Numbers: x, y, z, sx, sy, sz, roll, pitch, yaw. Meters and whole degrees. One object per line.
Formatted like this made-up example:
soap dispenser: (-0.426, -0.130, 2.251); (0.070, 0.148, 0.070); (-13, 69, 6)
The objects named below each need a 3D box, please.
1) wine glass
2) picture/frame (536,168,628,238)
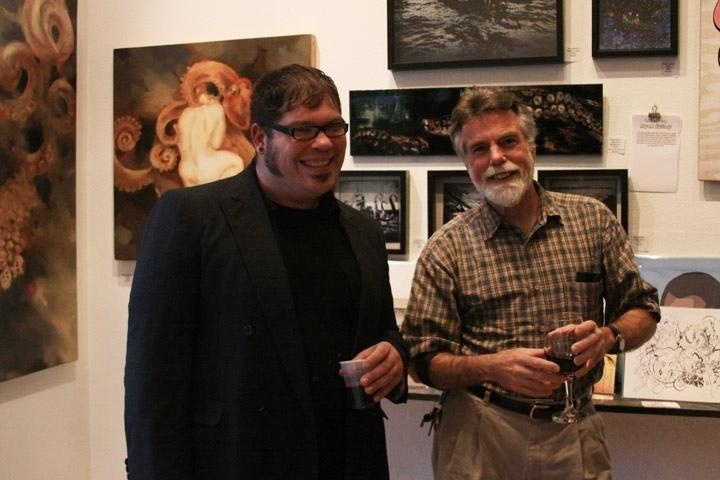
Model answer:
wine glass: (0.920, 0.589, 3.144); (0.169, 0.377, 0.160); (-7, -10, 40)
picture/frame: (1.159, -0.181, 3.661); (0.396, 0.382, 0.029); (0, -3, 14)
